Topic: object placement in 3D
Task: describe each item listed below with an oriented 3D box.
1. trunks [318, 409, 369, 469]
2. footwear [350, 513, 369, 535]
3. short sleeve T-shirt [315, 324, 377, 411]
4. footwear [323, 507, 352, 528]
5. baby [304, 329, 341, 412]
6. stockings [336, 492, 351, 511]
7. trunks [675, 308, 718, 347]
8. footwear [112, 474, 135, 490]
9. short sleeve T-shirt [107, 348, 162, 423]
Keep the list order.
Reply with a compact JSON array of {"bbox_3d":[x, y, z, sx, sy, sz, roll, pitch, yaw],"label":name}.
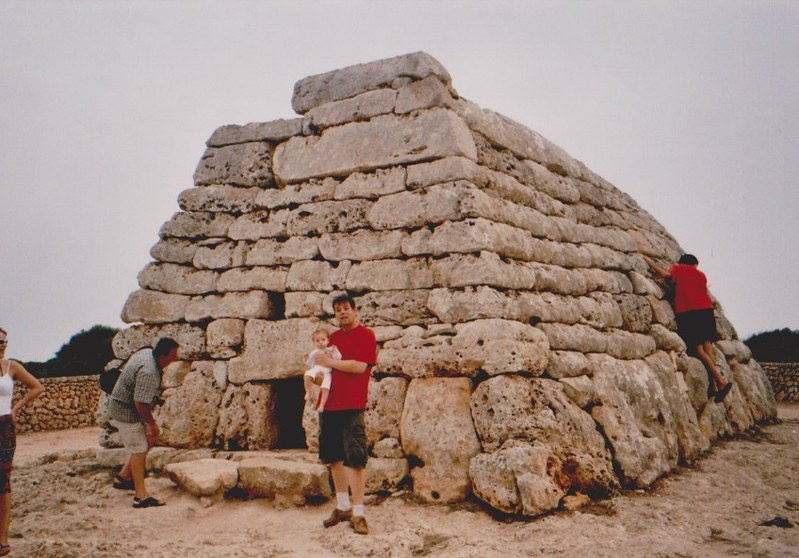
[{"bbox_3d":[-0.614,1.732,7.570,0.563,0.597,0.331,-7,-15,22],"label":"trunks"},{"bbox_3d":[-0.426,2.595,7.386,0.205,0.143,0.178,0,10,3],"label":"footwear"},{"bbox_3d":[-0.588,0.982,7.654,0.728,0.979,0.485,-12,-24,33],"label":"short sleeve T-shirt"},{"bbox_3d":[-0.663,2.616,7.638,0.323,0.170,0.143,-6,-6,-17],"label":"footwear"},{"bbox_3d":[-0.889,0.998,7.812,0.507,1.036,0.386,1,-1,19],"label":"baby"},{"bbox_3d":[-0.612,2.436,7.639,0.120,0.202,0.193,-2,-17,0],"label":"stockings"},{"bbox_3d":[4.392,0.708,10.439,0.518,0.567,0.518,1,-8,-38],"label":"trunks"},{"bbox_3d":[-3.351,2.483,8.526,0.336,0.158,0.132,4,-3,5],"label":"footwear"},{"bbox_3d":[-3.160,1.288,8.305,0.595,0.829,0.353,-3,10,-13],"label":"short sleeve T-shirt"}]
